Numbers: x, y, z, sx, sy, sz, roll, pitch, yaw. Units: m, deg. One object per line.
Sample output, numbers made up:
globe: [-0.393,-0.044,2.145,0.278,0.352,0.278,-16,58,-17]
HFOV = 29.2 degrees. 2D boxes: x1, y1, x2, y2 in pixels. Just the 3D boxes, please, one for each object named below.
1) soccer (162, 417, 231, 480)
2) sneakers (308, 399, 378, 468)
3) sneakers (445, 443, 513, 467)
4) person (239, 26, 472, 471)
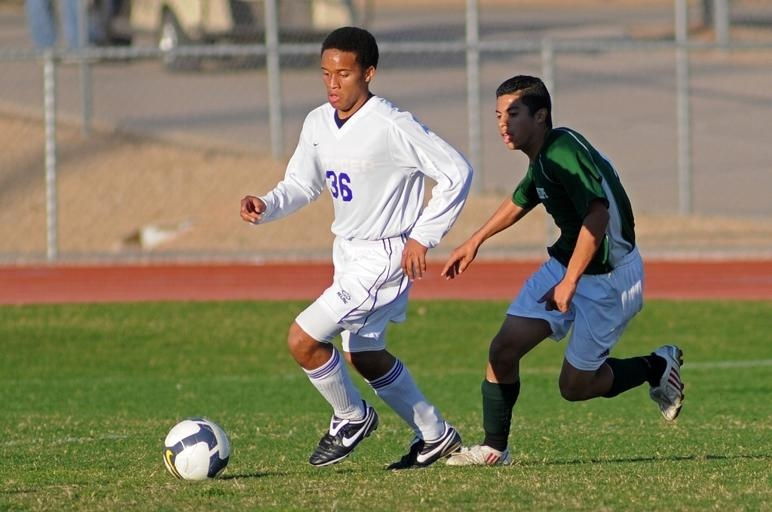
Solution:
soccer: [-1.531,1.516,11.959,0.463,0.462,0.458,-38,14,-5]
sneakers: [-0.341,1.487,12.243,0.525,0.234,0.177,-43,40,-8]
sneakers: [0.759,1.614,12.032,0.528,0.192,0.194,2,-5,1]
person: [-0.109,-0.070,12.000,1.536,3.506,0.867,-1,12,1]
